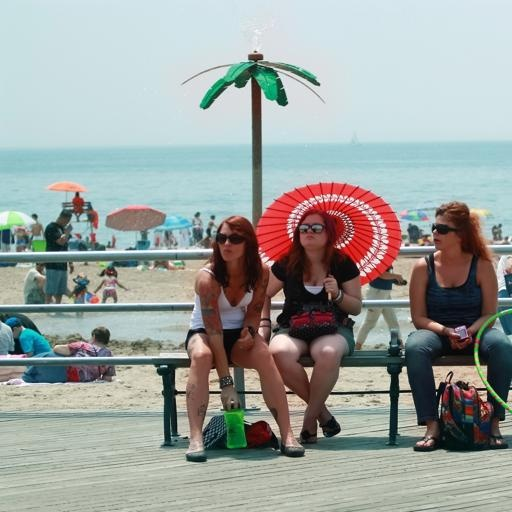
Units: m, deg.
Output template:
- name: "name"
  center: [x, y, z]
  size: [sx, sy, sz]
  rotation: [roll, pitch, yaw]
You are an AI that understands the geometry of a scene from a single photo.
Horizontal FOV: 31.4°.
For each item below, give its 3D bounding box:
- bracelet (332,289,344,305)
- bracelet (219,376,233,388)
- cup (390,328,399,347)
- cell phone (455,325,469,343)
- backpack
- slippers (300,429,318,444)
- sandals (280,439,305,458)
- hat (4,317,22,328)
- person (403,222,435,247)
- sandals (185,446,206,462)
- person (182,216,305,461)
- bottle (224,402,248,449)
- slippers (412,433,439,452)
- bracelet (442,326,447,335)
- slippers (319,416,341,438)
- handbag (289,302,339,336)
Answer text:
- name: "bracelet"
  center: [0.494, 0.238, 5.372]
  size: [0.062, 0.084, 0.159]
  rotation: [-2, -1, 26]
- name: "bracelet"
  center: [-0.155, 0.688, 5.026]
  size: [0.087, 0.054, 0.087]
  rotation: [1, -27, -18]
- name: "cup"
  center: [0.773, 0.456, 5.074]
  size: [0.046, 0.074, 0.101]
  rotation: [-3, 6, 10]
- name: "cell phone"
  center: [1.169, 0.439, 5.188]
  size: [0.080, 0.079, 0.104]
  rotation: [-2, -1, 10]
- name: "backpack"
  center: [1.151, 0.863, 5.003]
  size: [0.270, 0.357, 0.327]
  rotation: [2, -5, 11]
- name: "slippers"
  center: [0.294, 1.011, 5.095]
  size: [0.093, 0.079, 0.064]
  rotation: [-1, -1, 4]
- name: "sandals"
  center: [0.202, 1.019, 4.779]
  size: [0.056, 0.051, 0.140]
  rotation: [-1, -8, -17]
- name: "hat"
  center: [-2.530, 0.707, 9.555]
  size: [0.153, 0.070, 0.103]
  rotation: [7, 28, 30]
- name: "person"
  center: [5.787, -0.804, 32.858]
  size: [0.892, 0.996, 2.563]
  rotation: [-4, 1, 17]
- name: "sandals"
  center: [-0.301, 1.036, 4.720]
  size: [0.048, 0.045, 0.122]
  rotation: [3, -17, -24]
- name: "person"
  center: [-0.083, 0.416, 5.089]
  size: [0.630, 1.308, 0.692]
  rotation: [-1, -1, -4]
- name: "bottle"
  center: [-0.074, 0.934, 4.969]
  size: [0.157, 0.198, 0.147]
  rotation: [-5, -2, 0]
- name: "slippers"
  center: [0.918, 1.003, 4.904]
  size: [0.143, 0.081, 0.102]
  rotation: [-1, -1, 8]
- name: "bracelet"
  center: [1.080, 0.428, 5.211]
  size: [0.029, 0.043, 0.023]
  rotation: [-2, -2, 29]
- name: "slippers"
  center: [0.429, 0.986, 5.223]
  size: [0.081, 0.140, 0.051]
  rotation: [1, -42, 12]
- name: "handbag"
  center: [0.313, 0.356, 5.259]
  size: [0.327, 0.185, 0.122]
  rotation: [-4, 12, -28]
